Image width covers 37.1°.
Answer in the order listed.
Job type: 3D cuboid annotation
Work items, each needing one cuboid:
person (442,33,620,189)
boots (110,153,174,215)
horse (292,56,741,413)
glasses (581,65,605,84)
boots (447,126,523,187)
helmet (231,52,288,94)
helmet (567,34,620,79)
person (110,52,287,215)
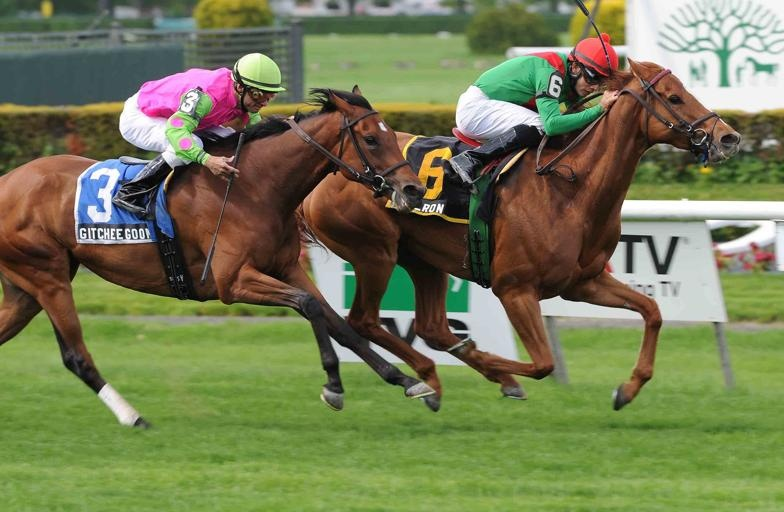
[{"bbox_3d":[0.947,-0.922,7.672,1.175,0.995,0.754,16,27,37],"label":"person"},{"bbox_3d":[-1.566,-0.436,7.317,0.381,0.131,0.298,-19,57,8],"label":"boots"},{"bbox_3d":[0.723,-0.012,8.049,0.997,2.103,3.860,1,0,-41],"label":"horse"},{"bbox_3d":[1.270,-1.156,7.445,0.104,0.060,0.134,13,12,-37],"label":"glasses"},{"bbox_3d":[0.680,-0.670,7.500,0.696,0.221,0.251,-17,42,-16],"label":"boots"},{"bbox_3d":[-0.837,-1.171,7.349,0.397,0.163,0.286,18,24,16],"label":"helmet"},{"bbox_3d":[1.355,-1.313,7.480,0.279,0.201,0.355,-21,47,-32],"label":"helmet"},{"bbox_3d":[-1.185,-0.812,7.502,1.226,0.929,0.736,7,22,4],"label":"person"}]
